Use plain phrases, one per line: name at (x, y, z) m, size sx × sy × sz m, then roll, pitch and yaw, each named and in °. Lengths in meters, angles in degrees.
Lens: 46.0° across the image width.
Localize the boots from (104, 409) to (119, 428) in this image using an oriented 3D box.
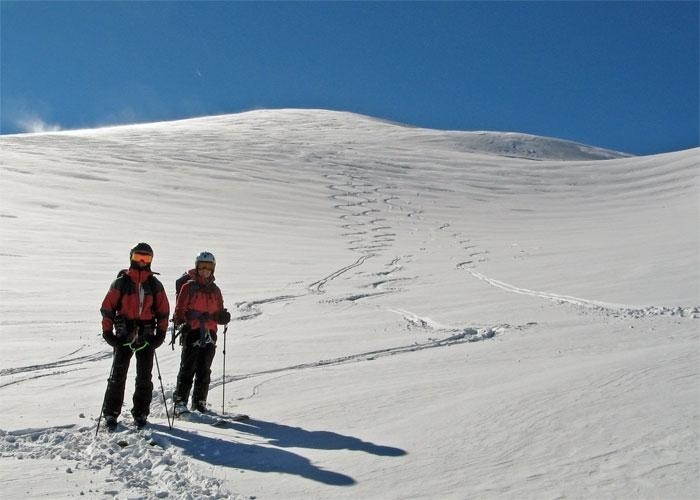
boots at (-6.061, 4.269, 20.862) m, size 0.370 × 0.417 × 0.321 m, roll -7°, pitch 10°, yaw -15°

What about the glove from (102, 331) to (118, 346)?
glove at (-6.142, 2.233, 21.026) m, size 0.425 × 0.343 × 0.372 m, roll -2°, pitch 10°, yaw -2°

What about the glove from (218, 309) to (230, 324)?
glove at (-3.309, 1.755, 21.995) m, size 0.360 × 0.376 × 0.162 m, roll -19°, pitch -19°, yaw 28°
